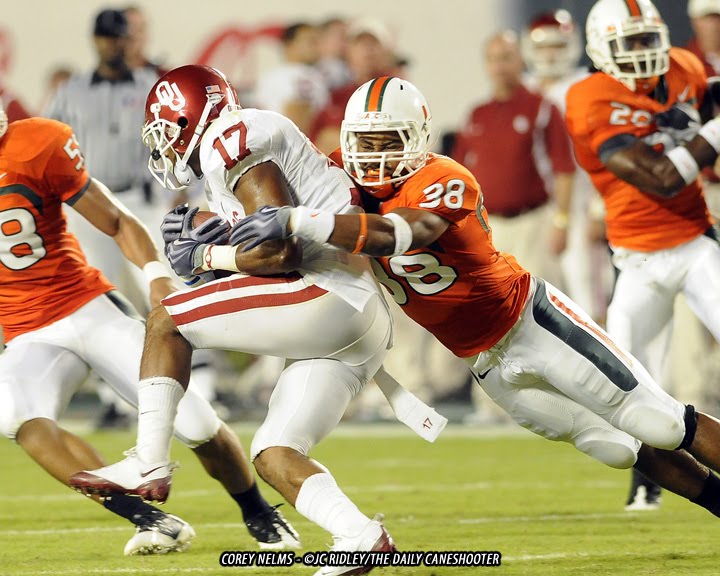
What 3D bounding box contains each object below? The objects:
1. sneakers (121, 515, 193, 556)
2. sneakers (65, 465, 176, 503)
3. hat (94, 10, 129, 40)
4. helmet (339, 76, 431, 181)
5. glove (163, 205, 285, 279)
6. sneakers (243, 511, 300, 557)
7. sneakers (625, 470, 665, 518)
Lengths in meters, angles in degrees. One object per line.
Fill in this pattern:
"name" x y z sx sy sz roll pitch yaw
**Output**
"sneakers" -0.649 0.820 3.030 0.277 0.096 0.112 -11 44 -18
"sneakers" -0.746 0.613 2.838 0.346 0.139 0.101 1 16 25
"hat" -1.657 -1.745 6.109 0.236 0.191 0.208 8 47 -1
"helmet" 0.082 -0.520 3.026 0.311 0.352 0.248 -5 15 4
"glove" -0.471 -0.138 2.994 0.356 0.235 0.190 16 45 1
"sneakers" -0.323 0.901 3.347 0.207 0.088 0.093 24 61 35
"sneakers" 1.218 0.887 3.952 0.151 0.197 0.179 0 16 25
